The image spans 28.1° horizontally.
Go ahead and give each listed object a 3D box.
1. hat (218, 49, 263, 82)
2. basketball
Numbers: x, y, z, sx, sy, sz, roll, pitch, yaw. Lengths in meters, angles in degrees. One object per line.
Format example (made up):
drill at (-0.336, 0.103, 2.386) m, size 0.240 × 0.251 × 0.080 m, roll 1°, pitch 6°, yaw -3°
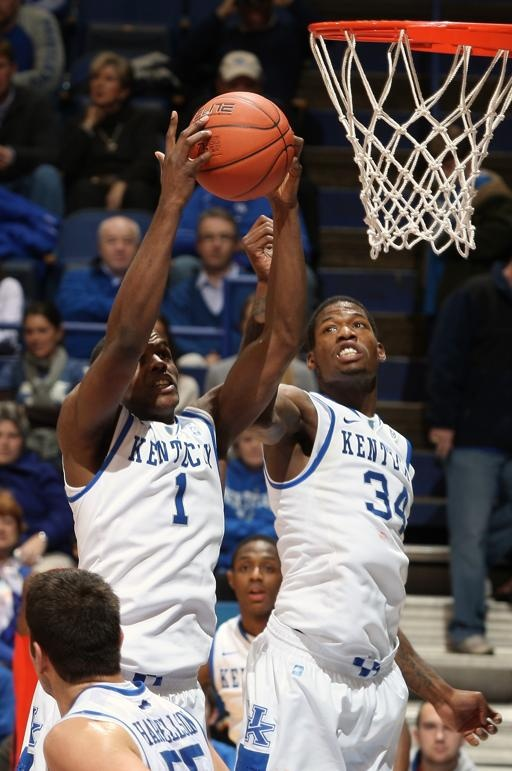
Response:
hat at (-0.125, -2.606, 8.287) m, size 0.277 × 0.210 × 0.408 m, roll -1°, pitch 11°, yaw -2°
basketball at (-0.024, -0.623, 2.683) m, size 0.397 × 0.273 × 0.296 m, roll -5°, pitch 8°, yaw -29°
